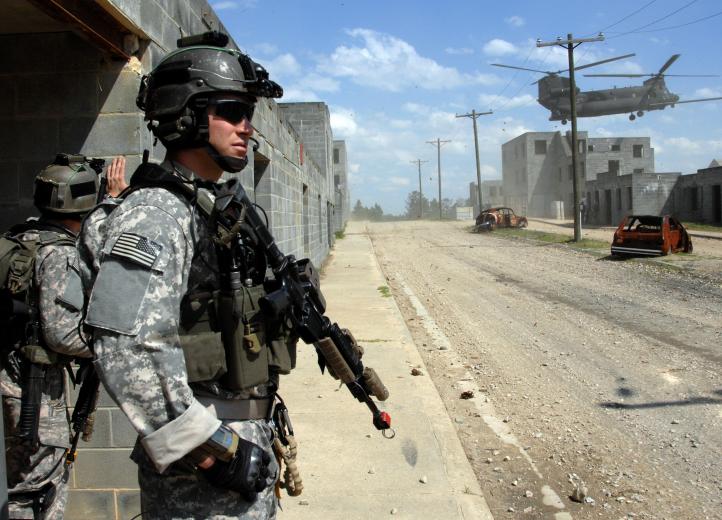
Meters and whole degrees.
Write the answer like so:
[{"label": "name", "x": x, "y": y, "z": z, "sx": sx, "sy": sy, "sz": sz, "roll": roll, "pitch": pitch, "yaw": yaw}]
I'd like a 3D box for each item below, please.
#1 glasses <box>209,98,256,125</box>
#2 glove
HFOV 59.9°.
[{"label": "glasses", "x": -0.656, "y": -0.731, "z": 3.150, "sx": 0.134, "sy": 0.047, "sz": 0.139, "roll": -2, "pitch": 2, "yaw": 19}, {"label": "glove", "x": -0.567, "y": 0.941, "z": 2.858, "sx": 0.283, "sy": 0.239, "sz": 0.127, "roll": 31, "pitch": -20, "yaw": -4}]
